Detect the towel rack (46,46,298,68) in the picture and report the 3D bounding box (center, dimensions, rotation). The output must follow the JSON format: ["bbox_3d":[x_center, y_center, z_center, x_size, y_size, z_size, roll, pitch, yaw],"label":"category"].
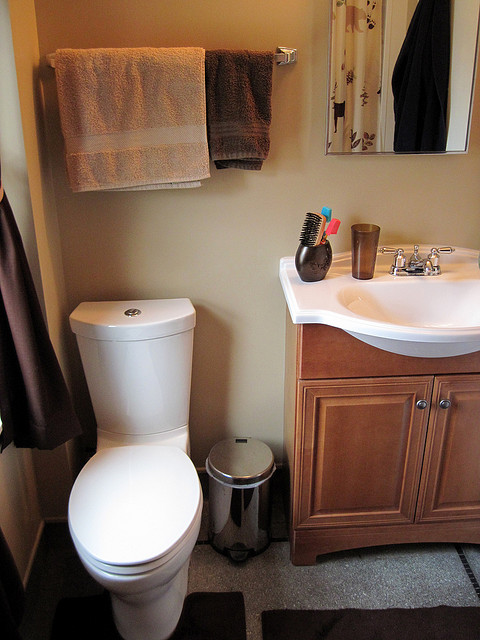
[{"bbox_3d":[-0.174,-0.689,1.400,0.677,0.056,0.096,-6,24,-6],"label":"towel rack"}]

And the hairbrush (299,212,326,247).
[{"bbox_3d":[0.206,-0.254,1.479,0.057,0.108,0.026,10,-3,-23],"label":"hairbrush"}]

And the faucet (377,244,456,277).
[{"bbox_3d":[0.508,-0.179,1.579,0.189,0.080,0.112,3,25,14],"label":"faucet"}]

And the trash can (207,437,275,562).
[{"bbox_3d":[0.001,0.573,1.737,0.222,0.305,0.271,2,24,13],"label":"trash can"}]

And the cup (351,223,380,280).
[{"bbox_3d":[0.353,-0.196,1.533,0.080,0.141,0.084,-4,25,2],"label":"cup"}]

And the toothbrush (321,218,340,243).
[{"bbox_3d":[0.248,-0.255,1.461,0.011,0.096,0.028,-9,44,-29],"label":"toothbrush"}]

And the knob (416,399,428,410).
[{"bbox_3d":[0.483,0.224,1.406,0.031,0.033,0.013,-13,25,-21],"label":"knob"}]
